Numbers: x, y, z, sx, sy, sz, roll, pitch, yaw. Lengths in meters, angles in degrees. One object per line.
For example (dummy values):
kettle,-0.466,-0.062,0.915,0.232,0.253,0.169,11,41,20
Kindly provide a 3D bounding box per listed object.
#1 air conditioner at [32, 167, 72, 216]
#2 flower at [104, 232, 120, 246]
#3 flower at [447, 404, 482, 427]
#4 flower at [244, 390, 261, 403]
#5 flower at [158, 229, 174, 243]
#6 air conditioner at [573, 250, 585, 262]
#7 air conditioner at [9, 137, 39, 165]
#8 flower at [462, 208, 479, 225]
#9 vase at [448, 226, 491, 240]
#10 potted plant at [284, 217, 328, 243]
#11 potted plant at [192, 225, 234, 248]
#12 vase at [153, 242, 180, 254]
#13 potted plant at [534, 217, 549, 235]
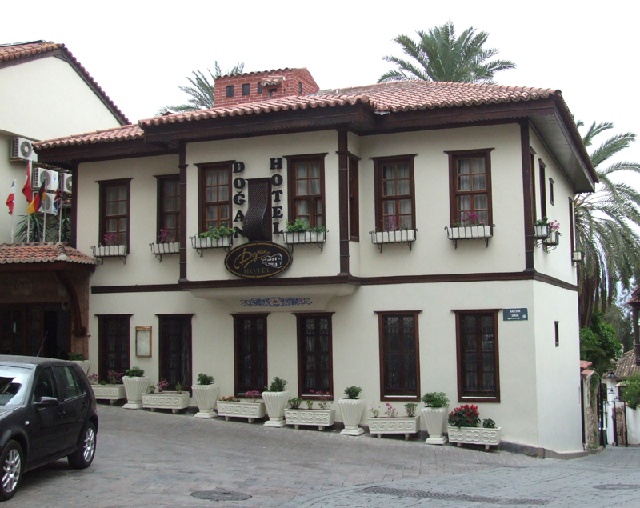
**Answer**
air conditioner,-9.170,-2.072,25.874,0.534,1.569,1.595,-5,-10,17
flower,-6.284,-0.464,23.006,0.458,0.466,0.496,4,-4,-28
flower,3.534,4.004,18.725,0.507,0.399,0.533,6,-8,-27
flower,-1.855,3.911,20.941,0.310,0.328,0.078,4,-9,15
flower,-4.520,-0.570,22.409,0.502,0.412,0.310,1,-4,27
air conditioner,9.416,0.060,27.642,0.253,0.349,0.463,-1,-1,13
air conditioner,-10.130,-3.515,25.891,0.327,0.976,1.029,-6,-13,21
flower,3.954,-0.964,19.826,0.351,0.378,0.200,-6,-15,31
vase,3.840,-0.569,19.471,1.173,0.386,0.384,2,-3,10
potted plant,-0.361,-0.568,19.762,1.106,0.653,0.443,3,-3,0
potted plant,-2.888,-0.428,20.488,1.212,0.611,0.383,0,-4,33
vase,-4.482,-0.192,22.092,0.828,0.356,0.192,2,-3,8
potted plant,5.747,-0.669,19.651,0.362,0.533,0.589,2,-4,17
